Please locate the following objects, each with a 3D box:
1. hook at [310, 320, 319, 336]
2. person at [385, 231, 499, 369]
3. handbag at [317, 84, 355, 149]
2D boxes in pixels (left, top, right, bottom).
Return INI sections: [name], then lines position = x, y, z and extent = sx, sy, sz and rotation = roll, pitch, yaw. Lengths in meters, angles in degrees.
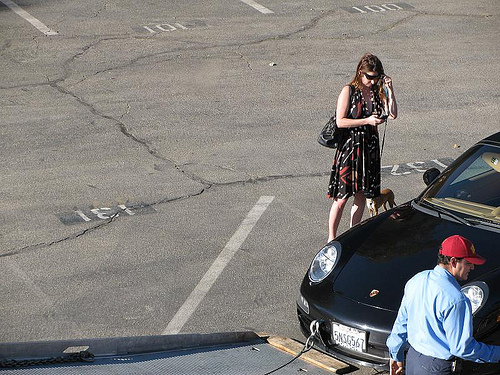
[hook]
position = 0.648, 1.382, 6.179
extent = 0.096, 0.118, 0.046
rotation = 0, 1, 27
[person]
position = 1.526, 1.040, 4.860
extent = 0.697, 1.192, 0.610
rotation = -14, 32, -11
[handbag]
position = 1.265, -0.777, 8.082
extent = 0.640, 0.570, 0.367
rotation = -4, 25, -15
